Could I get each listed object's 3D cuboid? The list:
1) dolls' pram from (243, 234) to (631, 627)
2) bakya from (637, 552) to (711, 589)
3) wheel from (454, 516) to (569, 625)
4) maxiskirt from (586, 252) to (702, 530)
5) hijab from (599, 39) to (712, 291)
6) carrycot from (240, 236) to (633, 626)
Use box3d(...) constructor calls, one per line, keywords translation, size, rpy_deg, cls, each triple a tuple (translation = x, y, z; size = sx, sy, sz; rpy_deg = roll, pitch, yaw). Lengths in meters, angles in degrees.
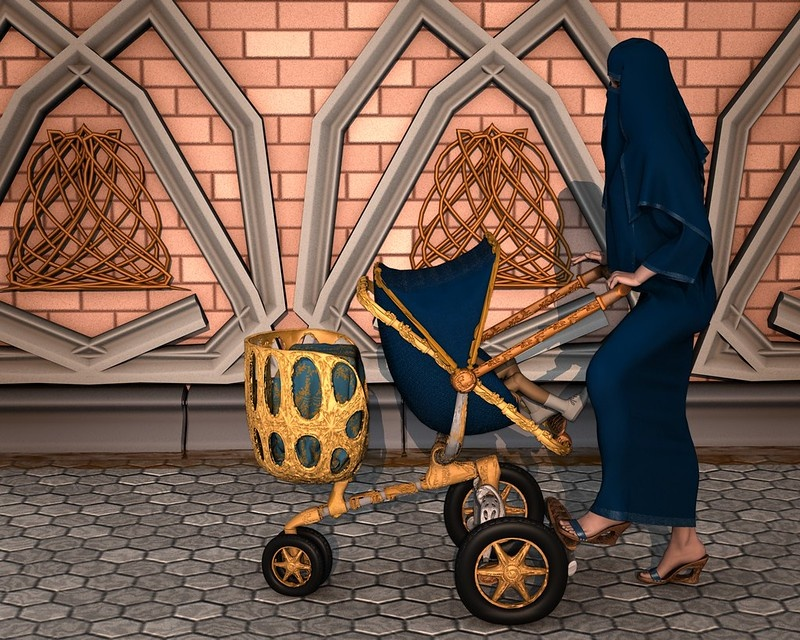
box3d(translation=(0.085, 0.416, 3.569), size=(1.395, 1.463, 0.574), rpy_deg=(1, 0, 3), cls="dolls' pram")
box3d(translation=(1.115, 1.047, 3.645), size=(0.317, 0.111, 0.120), rpy_deg=(2, -1, 3), cls="bakya")
box3d(translation=(0.435, 0.961, 3.475), size=(0.416, 0.404, 0.428), rpy_deg=(1, 0, 0), cls="wheel")
box3d(translation=(0.945, 0.289, 3.609), size=(0.509, 0.970, 0.478), rpy_deg=(6, 16, 12), cls="maxiskirt")
box3d(translation=(0.966, -0.629, 3.453), size=(0.460, 0.881, 0.583), rpy_deg=(6, 20, 11), cls="hijab")
box3d(translation=(0.254, 0.445, 3.570), size=(1.901, 1.325, 1.052), rpy_deg=(-5, -2, 20), cls="carrycot")
